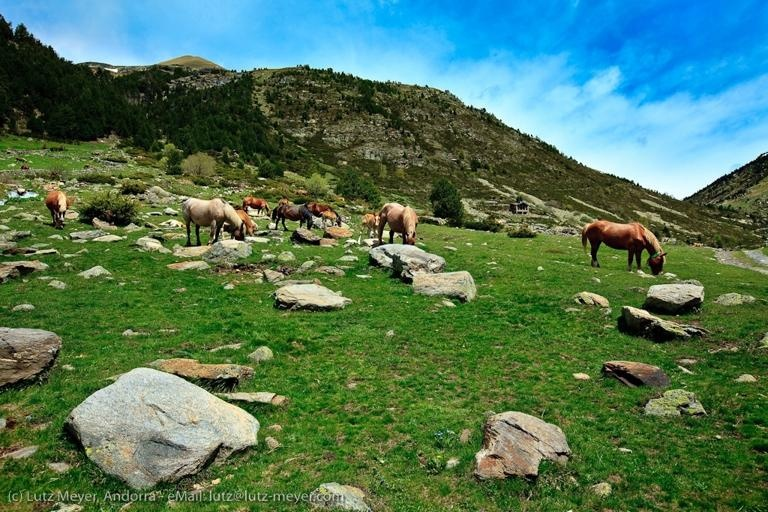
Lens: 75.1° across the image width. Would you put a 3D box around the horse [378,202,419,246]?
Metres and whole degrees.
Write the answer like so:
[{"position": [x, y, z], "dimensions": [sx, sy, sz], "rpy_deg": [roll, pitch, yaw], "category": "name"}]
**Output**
[{"position": [0.902, -1.930, 34.951], "dimensions": [2.134, 3.155, 4.908], "rpy_deg": [5, 15, -13], "category": "horse"}]
